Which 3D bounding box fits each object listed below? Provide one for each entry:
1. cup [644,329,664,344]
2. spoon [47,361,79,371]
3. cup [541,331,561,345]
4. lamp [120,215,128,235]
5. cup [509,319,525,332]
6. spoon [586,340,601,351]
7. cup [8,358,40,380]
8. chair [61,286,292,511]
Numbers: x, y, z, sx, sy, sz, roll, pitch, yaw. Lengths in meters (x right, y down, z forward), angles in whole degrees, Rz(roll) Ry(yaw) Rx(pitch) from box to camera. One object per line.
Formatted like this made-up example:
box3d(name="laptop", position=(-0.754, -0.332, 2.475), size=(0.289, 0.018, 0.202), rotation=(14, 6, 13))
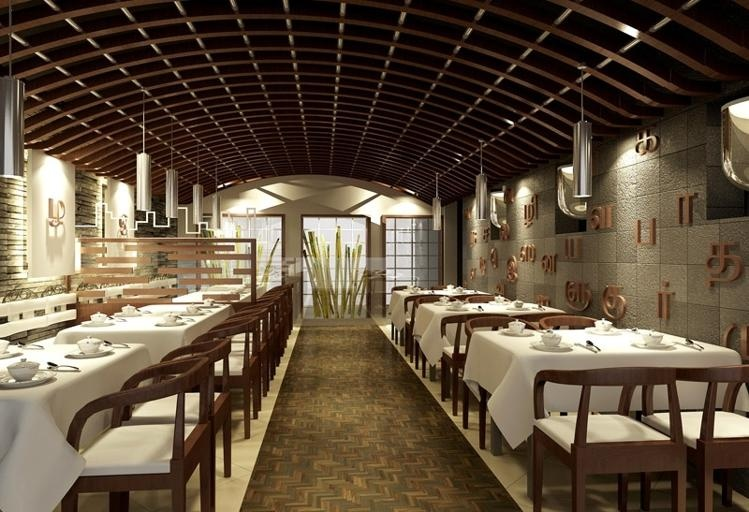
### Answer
box3d(name="cup", position=(2.516, 0.735, 4.313), size=(0.148, 0.080, 0.137), rotation=(1, 1, 0))
box3d(name="spoon", position=(-2.353, 0.837, 3.583), size=(0.299, 0.041, 0.089), rotation=(6, -3, -20))
box3d(name="cup", position=(1.548, 0.726, 4.189), size=(0.151, 0.066, 0.123), rotation=(0, -2, -4))
box3d(name="lamp", position=(-5.734, -0.704, 10.838), size=(0.148, 0.476, 0.543), rotation=(-2, 4, -21))
box3d(name="cup", position=(1.423, 0.700, 4.783), size=(0.139, 0.084, 0.122), rotation=(3, -6, -1))
box3d(name="spoon", position=(1.945, 0.795, 4.228), size=(0.059, 0.063, 0.173), rotation=(-15, 6, -9))
box3d(name="cup", position=(-2.392, 0.772, 3.253), size=(0.185, 0.100, 0.150), rotation=(0, -7, -9))
box3d(name="chair", position=(-1.993, 1.315, 5.865), size=(1.791, 1.923, 1.408), rotation=(2, 1, 2))
